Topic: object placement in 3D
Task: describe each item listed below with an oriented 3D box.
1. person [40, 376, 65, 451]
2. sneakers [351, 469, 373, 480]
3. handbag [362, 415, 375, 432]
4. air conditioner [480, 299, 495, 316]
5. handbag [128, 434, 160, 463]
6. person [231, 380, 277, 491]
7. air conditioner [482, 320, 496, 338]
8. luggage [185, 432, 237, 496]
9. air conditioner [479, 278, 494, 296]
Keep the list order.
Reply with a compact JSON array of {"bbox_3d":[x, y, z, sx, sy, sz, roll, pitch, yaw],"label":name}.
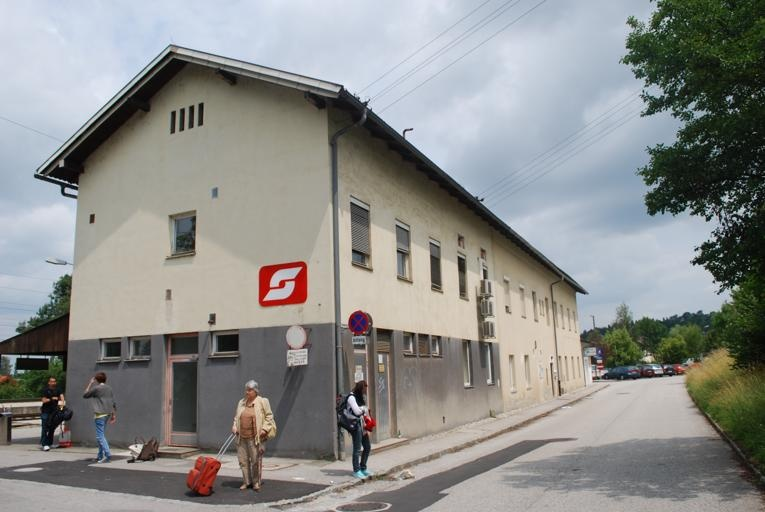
[{"bbox_3d":[-10.821,5.136,18.529,0.648,2.371,1.393,7,-21,-29],"label":"person"},{"bbox_3d":[-0.503,5.503,14.206,0.456,0.244,0.297,1,-21,-13],"label":"sneakers"},{"bbox_3d":[-0.325,4.303,14.514,0.236,0.335,0.559,-10,-21,16],"label":"handbag"},{"bbox_3d":[4.844,2.402,26.239,0.582,1.258,0.872,-1,-10,18],"label":"air conditioner"},{"bbox_3d":[-7.103,5.754,16.918,0.664,0.704,0.692,3,-10,5],"label":"handbag"},{"bbox_3d":[-3.098,4.295,13.564,0.949,2.483,0.595,-9,-19,17],"label":"person"},{"bbox_3d":[4.981,3.473,26.658,0.403,0.832,1.192,-14,-23,28],"label":"air conditioner"},{"bbox_3d":[-4.028,4.825,13.350,0.525,1.557,0.778,4,-30,28],"label":"luggage"},{"bbox_3d":[4.904,1.591,26.747,0.516,1.001,1.005,-5,-8,30],"label":"air conditioner"}]
